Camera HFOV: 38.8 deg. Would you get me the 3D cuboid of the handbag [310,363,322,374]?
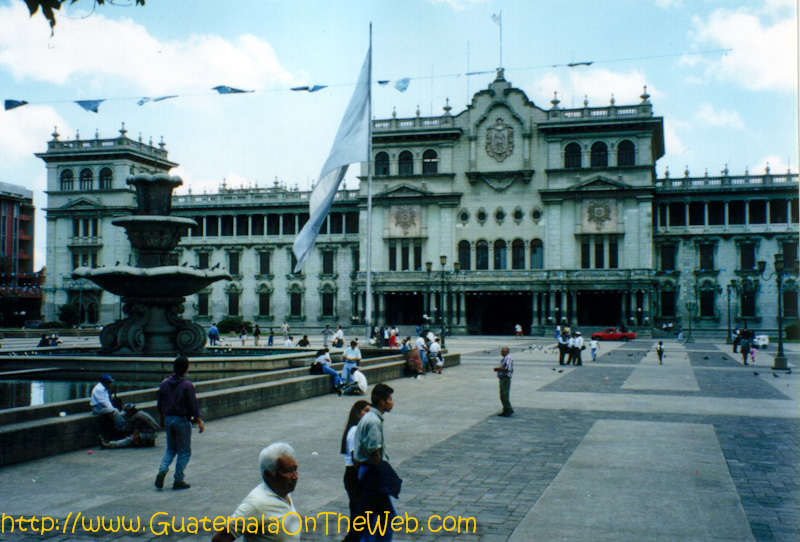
[{"bbox_3d":[-3.349,3.873,45.085,0.453,0.423,0.435,-1,-8,2],"label":"handbag"}]
